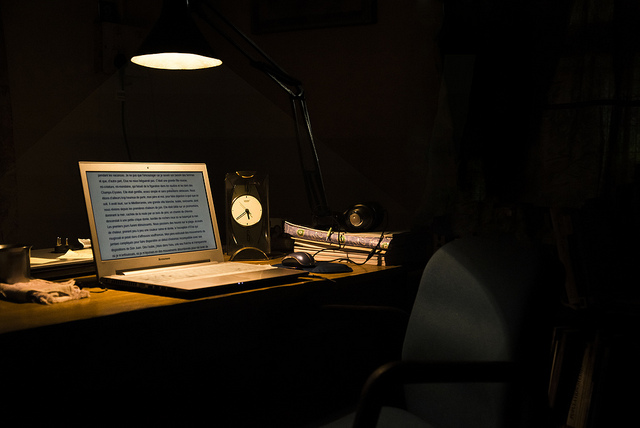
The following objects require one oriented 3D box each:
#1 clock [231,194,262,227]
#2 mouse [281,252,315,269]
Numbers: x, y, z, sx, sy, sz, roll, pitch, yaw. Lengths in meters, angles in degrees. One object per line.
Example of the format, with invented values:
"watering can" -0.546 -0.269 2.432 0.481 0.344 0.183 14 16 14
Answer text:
"clock" -0.317 -0.009 2.181 0.143 0.139 0.019 0 3 -3
"mouse" -0.077 0.177 1.963 0.088 0.030 0.064 2 2 26
